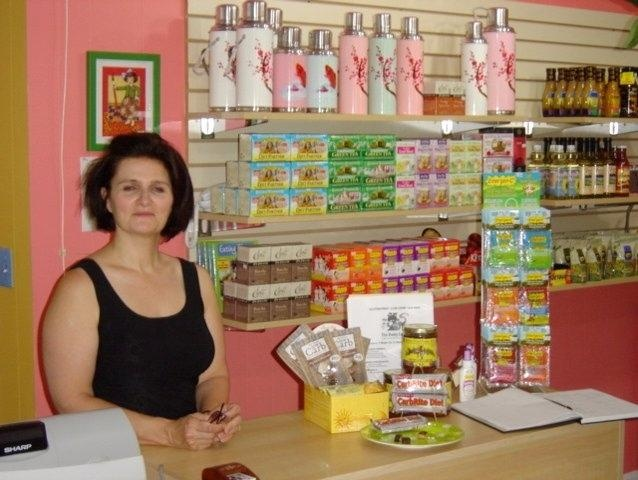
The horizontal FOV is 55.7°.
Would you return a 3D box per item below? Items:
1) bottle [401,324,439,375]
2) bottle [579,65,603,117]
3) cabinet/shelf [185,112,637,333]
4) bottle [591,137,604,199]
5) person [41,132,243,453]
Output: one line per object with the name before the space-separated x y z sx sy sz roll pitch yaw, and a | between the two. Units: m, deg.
bottle | 0.421 0.458 2.568 0.156 0.187 0.138 -8 8 -44
bottle | 1.595 -0.864 3.522 0.137 0.282 0.066 -5 6 -19
cabinet/shelf | 0.655 -0.140 3.336 2.622 1.128 0.526 -5 6 -24
bottle | 1.611 -0.428 3.539 0.092 0.335 0.091 -6 13 1
person | -0.684 0.141 2.255 0.663 1.080 0.450 -6 6 -26
